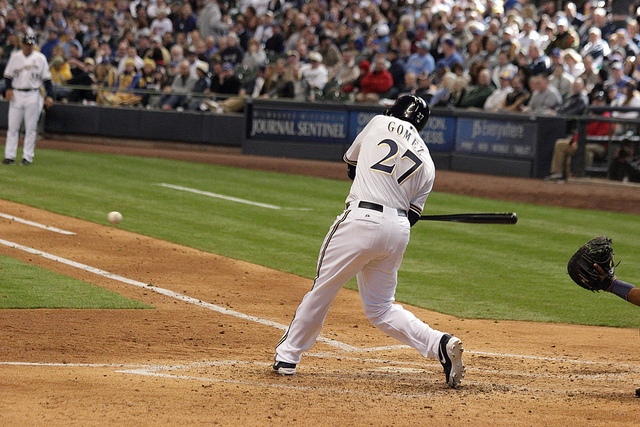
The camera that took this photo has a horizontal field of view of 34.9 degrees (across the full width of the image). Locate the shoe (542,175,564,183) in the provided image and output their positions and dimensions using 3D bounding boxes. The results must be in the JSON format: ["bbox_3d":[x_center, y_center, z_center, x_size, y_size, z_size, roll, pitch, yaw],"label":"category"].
[{"bbox_3d":[4.915,-0.705,21.315,0.414,0.136,0.146,6,1,32],"label":"shoe"}]

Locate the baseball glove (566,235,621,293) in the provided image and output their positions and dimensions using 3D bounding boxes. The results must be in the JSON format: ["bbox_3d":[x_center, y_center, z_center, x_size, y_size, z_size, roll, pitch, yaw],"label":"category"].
[{"bbox_3d":[3.580,0.665,13.334,0.591,0.716,0.208,5,4,14],"label":"baseball glove"}]

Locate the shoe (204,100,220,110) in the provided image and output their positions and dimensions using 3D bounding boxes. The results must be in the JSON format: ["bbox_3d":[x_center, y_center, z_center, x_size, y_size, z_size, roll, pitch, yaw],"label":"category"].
[{"bbox_3d":[-2.583,-2.597,24.394,0.380,0.218,0.064,4,4,16],"label":"shoe"}]

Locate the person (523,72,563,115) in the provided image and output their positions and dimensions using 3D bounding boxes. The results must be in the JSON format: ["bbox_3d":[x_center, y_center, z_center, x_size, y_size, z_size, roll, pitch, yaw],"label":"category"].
[{"bbox_3d":[4.771,-2.507,21.451,0.730,0.807,0.361,4,4,3],"label":"person"}]

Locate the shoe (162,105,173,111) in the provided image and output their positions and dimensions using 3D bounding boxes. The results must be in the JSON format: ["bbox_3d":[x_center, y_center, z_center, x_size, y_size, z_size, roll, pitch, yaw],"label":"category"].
[{"bbox_3d":[-3.702,-2.566,24.728,0.243,0.124,0.037,4,4,9],"label":"shoe"}]

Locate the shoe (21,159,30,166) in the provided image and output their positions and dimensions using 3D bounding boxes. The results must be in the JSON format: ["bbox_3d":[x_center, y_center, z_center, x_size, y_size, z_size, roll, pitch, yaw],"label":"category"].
[{"bbox_3d":[-5.984,-1.028,20.687,0.162,0.128,0.083,3,4,-18],"label":"shoe"}]

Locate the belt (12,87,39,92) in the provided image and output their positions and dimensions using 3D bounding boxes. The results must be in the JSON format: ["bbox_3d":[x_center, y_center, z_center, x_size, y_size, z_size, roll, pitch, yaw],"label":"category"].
[{"bbox_3d":[-5.879,-2.461,20.297,0.500,0.096,0.145,3,3,4],"label":"belt"}]

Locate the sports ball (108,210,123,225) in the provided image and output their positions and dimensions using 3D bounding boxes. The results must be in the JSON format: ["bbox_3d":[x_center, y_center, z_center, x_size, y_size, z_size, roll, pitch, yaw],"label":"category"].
[{"bbox_3d":[-3.556,0.052,17.442,0.299,0.244,0.269,6,14,8],"label":"sports ball"}]
